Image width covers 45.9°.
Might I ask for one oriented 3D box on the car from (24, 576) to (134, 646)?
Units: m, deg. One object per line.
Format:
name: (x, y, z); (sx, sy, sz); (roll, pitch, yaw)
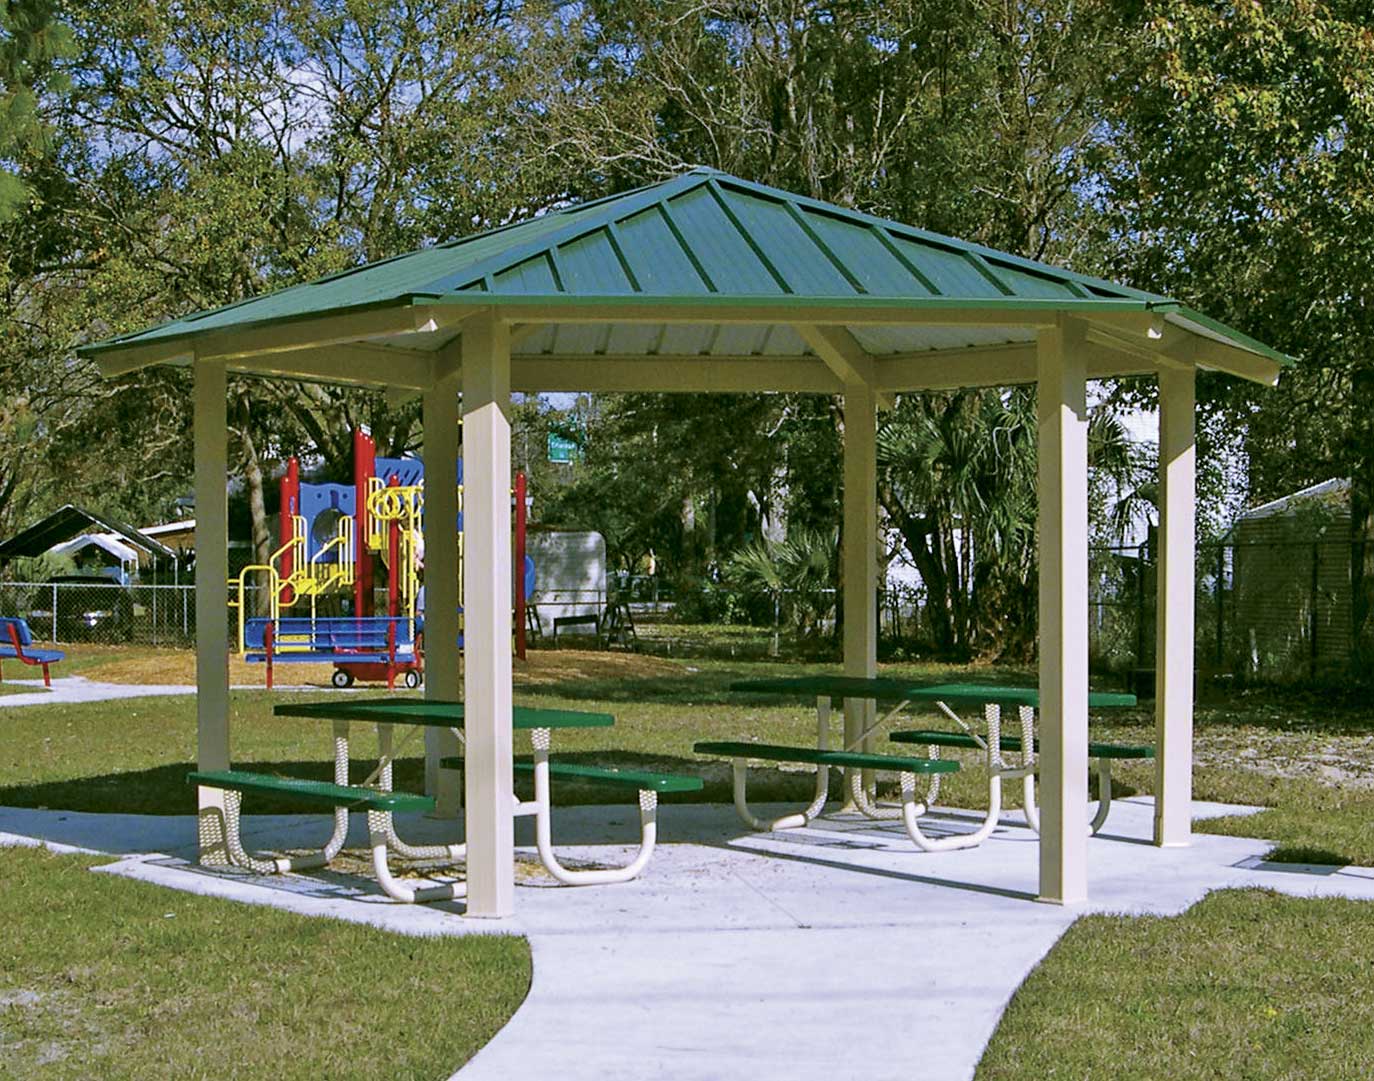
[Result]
car: (-13.065, 1.608, 35.522); (1.717, 0.875, 2.370); (3, -1, -41)

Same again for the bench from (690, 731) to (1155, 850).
bench: (1.436, 1.854, 12.181); (2.774, 0.793, 3.450); (1, -5, -22)

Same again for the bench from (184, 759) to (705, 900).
bench: (-1.681, 1.841, 10.415); (2.398, 0.813, 3.020); (3, -7, -43)

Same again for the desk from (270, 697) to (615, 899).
desk: (-1.557, 1.530, 10.512); (1.386, 0.892, 1.585); (8, -11, -42)
